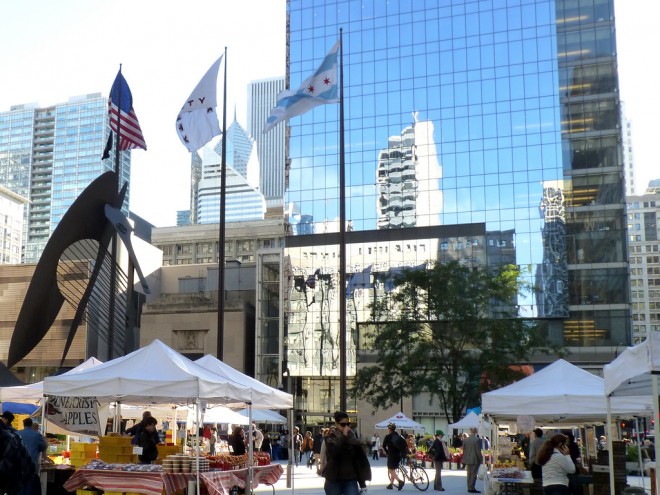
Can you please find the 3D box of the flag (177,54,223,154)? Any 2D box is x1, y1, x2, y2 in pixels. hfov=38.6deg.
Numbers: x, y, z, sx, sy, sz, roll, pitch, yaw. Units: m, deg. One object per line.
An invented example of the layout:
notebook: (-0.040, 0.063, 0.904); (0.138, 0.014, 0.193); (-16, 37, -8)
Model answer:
flag: (-6.681, -7.337, 48.664); (2.235, 4.949, 0.947); (-8, -11, 29)

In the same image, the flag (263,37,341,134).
flag: (-1.114, -8.237, 47.030); (3.642, 3.669, 0.959); (-6, -11, 20)
